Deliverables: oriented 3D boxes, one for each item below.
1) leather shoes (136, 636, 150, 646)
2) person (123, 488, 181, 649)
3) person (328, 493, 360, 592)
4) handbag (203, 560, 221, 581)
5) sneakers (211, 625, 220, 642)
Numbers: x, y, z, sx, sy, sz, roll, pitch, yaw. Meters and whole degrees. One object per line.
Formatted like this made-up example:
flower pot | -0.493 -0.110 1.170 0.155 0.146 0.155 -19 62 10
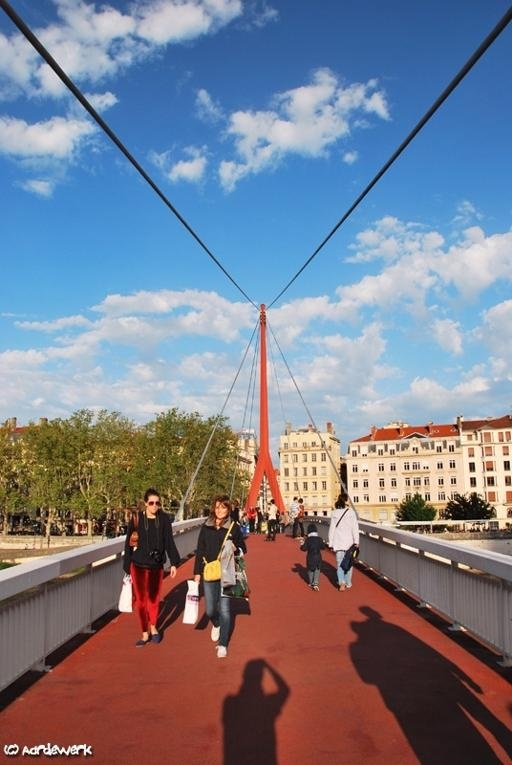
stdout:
leather shoes | -1.158 2.628 5.019 0.054 0.062 0.152 -8 -21 16
person | -1.087 1.896 5.111 0.526 1.552 0.422 2 -11 -16
person | 1.598 2.858 8.962 0.524 1.653 1.163 -3 -11 10
handbag | -0.427 1.860 4.886 0.180 0.210 0.109 -1 -24 -2
sneakers | -0.427 2.670 5.287 0.082 0.110 0.239 -3 5 7
